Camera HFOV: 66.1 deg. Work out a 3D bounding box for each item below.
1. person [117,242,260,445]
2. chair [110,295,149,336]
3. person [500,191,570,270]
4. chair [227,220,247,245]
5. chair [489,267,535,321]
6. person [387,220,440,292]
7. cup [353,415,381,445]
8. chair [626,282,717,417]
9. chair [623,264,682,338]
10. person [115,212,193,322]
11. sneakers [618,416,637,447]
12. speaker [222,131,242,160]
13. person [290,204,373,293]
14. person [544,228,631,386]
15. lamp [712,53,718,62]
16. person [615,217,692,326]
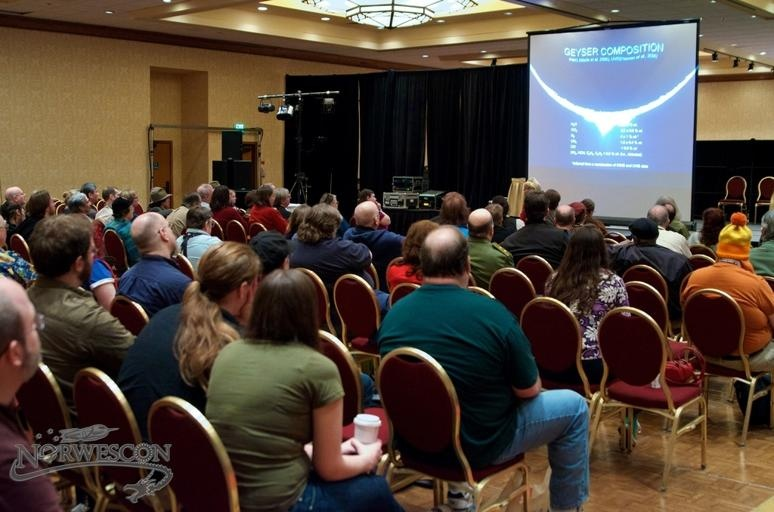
[{"bbox_3d":[-0.919,0.426,2.782,0.347,0.934,0.540,25,28,18],"label":"person"},{"bbox_3d":[-1.509,0.351,3.522,0.120,0.231,0.137,21,29,30],"label":"chair"},{"bbox_3d":[1.513,-0.165,6.063,0.631,0.962,0.478,-1,3,10],"label":"person"},{"bbox_3d":[-1.991,-0.340,7.919,0.245,0.261,0.736,-4,14,-25],"label":"chair"},{"bbox_3d":[0.946,0.285,4.488,0.248,0.517,0.282,11,19,40],"label":"chair"},{"bbox_3d":[0.173,-0.018,5.045,0.431,0.843,0.546,2,9,3],"label":"person"},{"bbox_3d":[-0.089,0.795,2.784,0.116,0.110,0.112,1,-1,0],"label":"cup"},{"bbox_3d":[2.079,0.598,4.482,0.682,1.194,0.579,-12,15,-40],"label":"chair"},{"bbox_3d":[2.059,0.319,4.633,0.362,0.727,0.431,9,26,34],"label":"chair"},{"bbox_3d":[-1.575,0.037,4.029,0.721,0.714,0.400,4,10,35],"label":"person"},{"bbox_3d":[1.807,1.291,4.447,0.088,0.133,0.316,1,6,21],"label":"sneakers"},{"bbox_3d":[-3.803,-2.726,14.594,0.488,0.700,0.419,1,11,-2],"label":"speaker"},{"bbox_3d":[-0.467,-0.065,5.171,0.554,0.905,0.497,12,18,29],"label":"person"},{"bbox_3d":[1.448,0.291,4.404,0.602,1.153,0.658,5,19,14],"label":"person"},{"bbox_3d":[7.916,-4.835,14.349,0.072,0.192,0.747,8,14,29],"label":"lamp"},{"bbox_3d":[2.383,0.156,5.499,0.798,1.010,0.479,2,23,22],"label":"person"}]
